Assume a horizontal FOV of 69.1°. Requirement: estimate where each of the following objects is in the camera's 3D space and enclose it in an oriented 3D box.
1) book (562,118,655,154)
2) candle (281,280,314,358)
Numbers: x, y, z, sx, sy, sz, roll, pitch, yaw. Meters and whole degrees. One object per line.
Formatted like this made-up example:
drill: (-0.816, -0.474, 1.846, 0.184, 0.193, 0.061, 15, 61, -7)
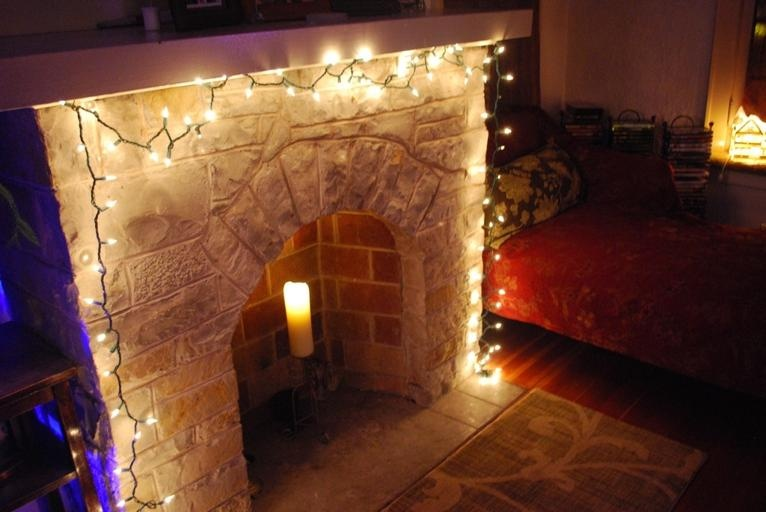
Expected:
book: (1.824, -0.917, 4.374, 0.723, 0.256, 0.288, 2, 5, 10)
candle: (-0.415, 0.331, 2.818, 0.117, 0.406, 0.194, -6, 18, -3)
